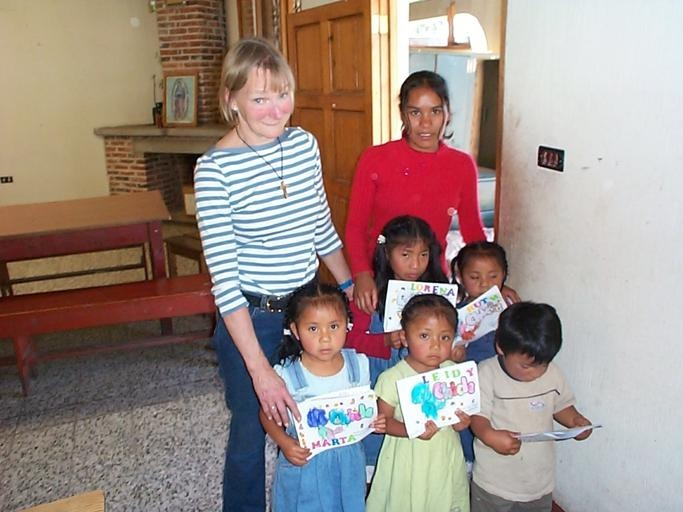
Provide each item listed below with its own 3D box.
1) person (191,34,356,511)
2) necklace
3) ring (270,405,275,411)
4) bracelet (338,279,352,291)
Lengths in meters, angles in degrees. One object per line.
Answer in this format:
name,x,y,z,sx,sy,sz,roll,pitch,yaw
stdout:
person,-0.297,0.177,2.066,0.393,1.937,0.609,1,14,17
necklace,-0.292,-0.340,1.924,0.169,0.267,0.093,-6,14,-8
ring,-0.240,0.532,1.823,0.019,0.019,0.005,1,0,-10
bracelet,0.015,0.132,2.303,0.049,0.036,0.048,-26,3,-27
